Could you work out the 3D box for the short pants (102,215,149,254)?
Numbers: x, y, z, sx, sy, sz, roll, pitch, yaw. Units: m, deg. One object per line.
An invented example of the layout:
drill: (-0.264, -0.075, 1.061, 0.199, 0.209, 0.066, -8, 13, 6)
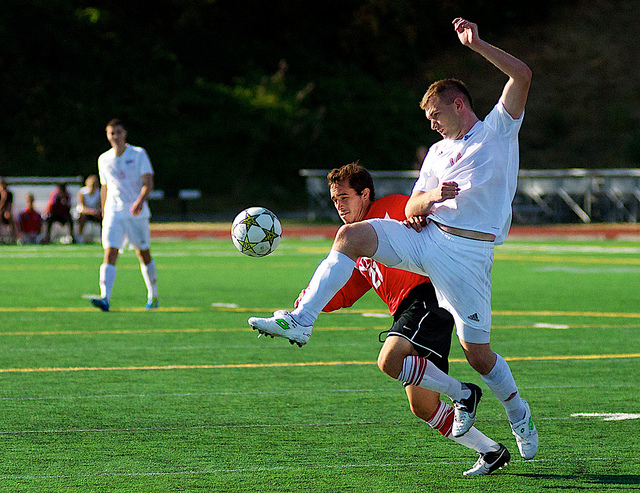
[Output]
short pants: (-3.543, -0.273, 22.841, 0.853, 0.639, 0.384, 3, 3, -15)
